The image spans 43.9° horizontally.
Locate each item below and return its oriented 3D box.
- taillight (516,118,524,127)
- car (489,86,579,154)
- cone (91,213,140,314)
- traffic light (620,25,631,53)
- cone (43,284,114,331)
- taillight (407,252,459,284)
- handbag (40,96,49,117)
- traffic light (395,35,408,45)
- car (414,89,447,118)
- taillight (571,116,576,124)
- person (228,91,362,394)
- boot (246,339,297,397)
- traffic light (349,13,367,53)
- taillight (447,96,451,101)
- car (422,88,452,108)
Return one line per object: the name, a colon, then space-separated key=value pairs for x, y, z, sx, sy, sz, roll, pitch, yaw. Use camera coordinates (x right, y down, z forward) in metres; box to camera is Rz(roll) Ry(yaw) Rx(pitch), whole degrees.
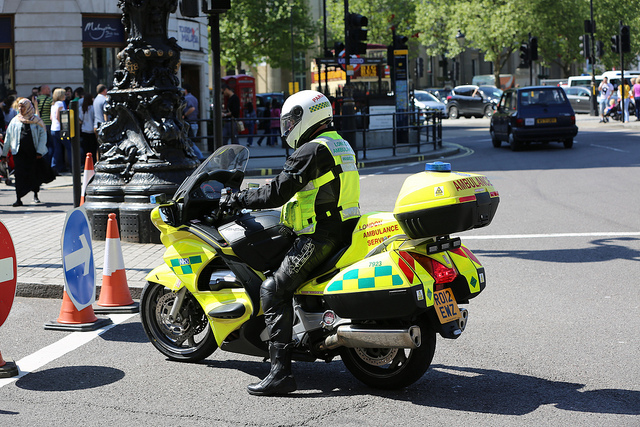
taillight: x=6.180 y=-2.834 z=24.565 sx=0.226 sy=0.276 sz=0.103 roll=0 pitch=10 yaw=12
car: x=6.690 y=-3.008 z=25.288 sx=1.701 sy=2.062 sz=2.827 roll=-7 pitch=12 yaw=-25
cone: x=-2.483 y=0.581 z=9.523 sx=0.530 sy=1.212 sz=0.440 roll=-5 pitch=11 yaw=-16
traffic light: x=13.754 y=-7.970 z=35.912 sx=0.393 sy=1.212 sz=1.490 roll=2 pitch=12 yaw=19
cone: x=-2.754 y=1.136 z=9.159 sx=0.560 sy=0.641 sz=0.533 roll=1 pitch=11 yaw=6
taillight: x=1.021 y=0.494 z=7.098 sx=0.462 sy=0.308 sz=0.150 roll=-3 pitch=10 yaw=-6
handbag: x=-7.843 y=-3.009 z=22.537 sx=0.071 sy=0.713 sz=0.091 roll=18 pitch=-3 yaw=41
traffic light: x=2.881 y=-6.202 z=28.341 sx=0.347 sy=0.366 sz=0.406 roll=24 pitch=-3 yaw=-33
car: x=6.640 y=-6.448 z=47.691 sx=1.829 sy=1.714 sz=4.715 roll=0 pitch=12 yaw=8
taillight: x=7.756 y=-2.899 z=24.421 sx=0.054 sy=0.234 sz=0.220 roll=5 pitch=13 yaw=35
person: x=-0.181 y=0.257 z=7.463 sx=1.165 sy=2.746 sz=0.638 roll=-4 pitch=10 yaw=-9
boot: x=-0.377 y=1.454 z=7.356 sx=0.575 sy=0.602 sz=0.307 roll=0 pitch=2 yaw=1
traffic light: x=1.090 y=-5.171 z=22.625 sx=0.501 sy=1.082 sz=0.966 roll=-2 pitch=11 yaw=2
taillight: x=8.133 y=-7.319 z=50.174 sx=0.226 sy=0.100 sz=0.340 roll=7 pitch=48 yaw=5
car: x=8.207 y=-7.880 z=54.809 sx=1.271 sy=1.213 sz=2.302 roll=0 pitch=19 yaw=-6
